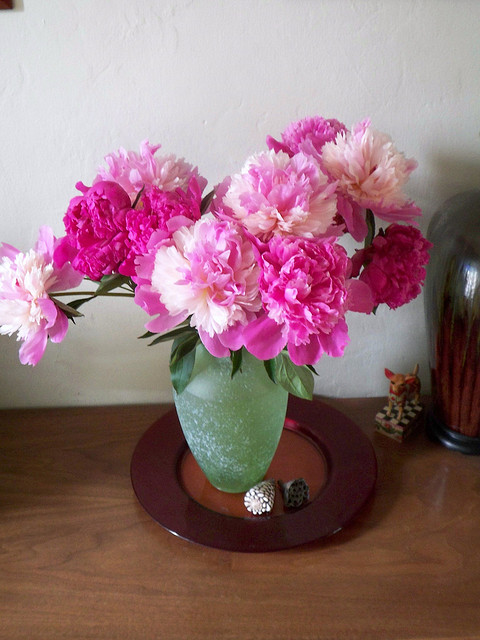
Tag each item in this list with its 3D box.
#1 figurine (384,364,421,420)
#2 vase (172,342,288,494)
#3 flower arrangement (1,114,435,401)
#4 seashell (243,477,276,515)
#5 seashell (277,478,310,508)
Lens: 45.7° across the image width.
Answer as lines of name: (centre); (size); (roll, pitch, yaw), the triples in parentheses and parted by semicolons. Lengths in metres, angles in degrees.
figurine: (0.206, 0.087, 0.723); (0.049, 0.071, 0.050); (-5, 24, 3)
vase: (-0.008, 0.091, 0.604); (0.112, 0.154, 0.097); (-12, 35, -20)
flower arrangement: (-0.024, -0.043, 0.486); (0.379, 0.235, 0.232); (-2, 23, -6)
seashell: (0.022, 0.183, 0.596); (0.021, 0.017, 0.039); (-26, -1, 20)
seashell: (0.057, 0.183, 0.608); (0.022, 0.019, 0.033); (-12, 5, -14)
